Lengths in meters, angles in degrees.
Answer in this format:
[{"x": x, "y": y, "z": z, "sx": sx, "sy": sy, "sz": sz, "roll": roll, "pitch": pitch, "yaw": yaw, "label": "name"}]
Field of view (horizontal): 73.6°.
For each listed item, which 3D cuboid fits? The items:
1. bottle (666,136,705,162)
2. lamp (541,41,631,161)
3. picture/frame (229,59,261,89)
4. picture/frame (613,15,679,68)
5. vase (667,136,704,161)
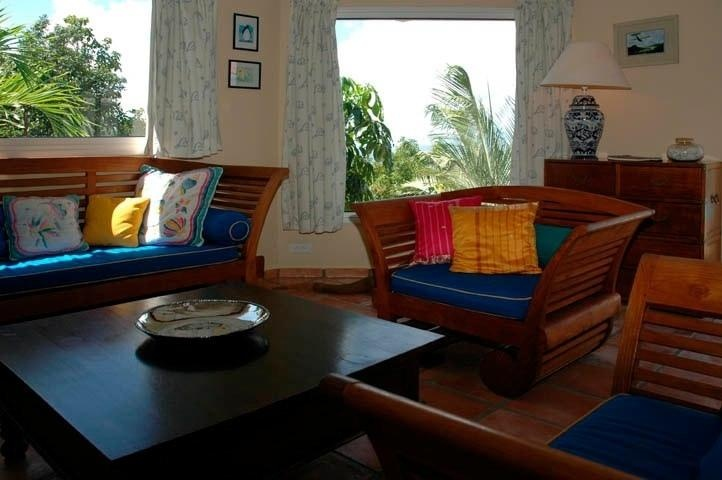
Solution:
[{"x": 2.605, "y": -0.703, "z": 3.843, "sx": 0.234, "sy": 0.174, "sz": 0.230, "roll": -2, "pitch": 8, "yaw": 0, "label": "bottle"}, {"x": 1.982, "y": -1.209, "z": 4.212, "sx": 0.690, "sy": 0.979, "sz": 0.510, "roll": -9, "pitch": 18, "yaw": -31, "label": "lamp"}, {"x": -1.118, "y": -1.571, "z": 4.573, "sx": 0.331, "sy": 0.238, "sz": 0.012, "roll": -2, "pitch": 2, "yaw": -37, "label": "picture/frame"}, {"x": 2.587, "y": -1.774, "z": 4.324, "sx": 0.627, "sy": 0.508, "sz": 0.050, "roll": 3, "pitch": 5, "yaw": 32, "label": "picture/frame"}, {"x": 2.601, "y": -0.712, "z": 3.883, "sx": 0.230, "sy": 0.169, "sz": 0.227, "roll": -1, "pitch": 8, "yaw": 4, "label": "vase"}]
